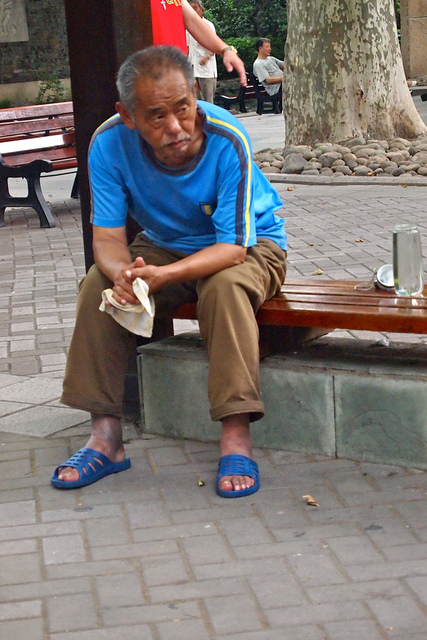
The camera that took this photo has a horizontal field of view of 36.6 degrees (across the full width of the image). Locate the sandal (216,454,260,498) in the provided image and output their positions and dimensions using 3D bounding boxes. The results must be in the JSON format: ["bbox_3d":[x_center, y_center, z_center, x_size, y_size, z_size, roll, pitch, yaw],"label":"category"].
[{"bbox_3d":[0.084,0.538,2.236,0.144,0.123,0.128,-2,8,2],"label":"sandal"}]

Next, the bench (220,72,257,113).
[{"bbox_3d":[0.662,-7.646,21.934,1.192,1.203,1.014,-10,25,-2],"label":"bench"}]

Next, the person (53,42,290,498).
[{"bbox_3d":[-0.178,-0.258,2.480,0.810,1.668,0.764,-1,9,14],"label":"person"}]

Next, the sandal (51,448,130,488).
[{"bbox_3d":[-0.465,0.549,2.422,0.096,0.075,0.259,0,4,45],"label":"sandal"}]

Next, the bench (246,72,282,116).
[{"bbox_3d":[1.810,-7.642,22.008,0.844,1.389,1.267,-2,8,7],"label":"bench"}]
